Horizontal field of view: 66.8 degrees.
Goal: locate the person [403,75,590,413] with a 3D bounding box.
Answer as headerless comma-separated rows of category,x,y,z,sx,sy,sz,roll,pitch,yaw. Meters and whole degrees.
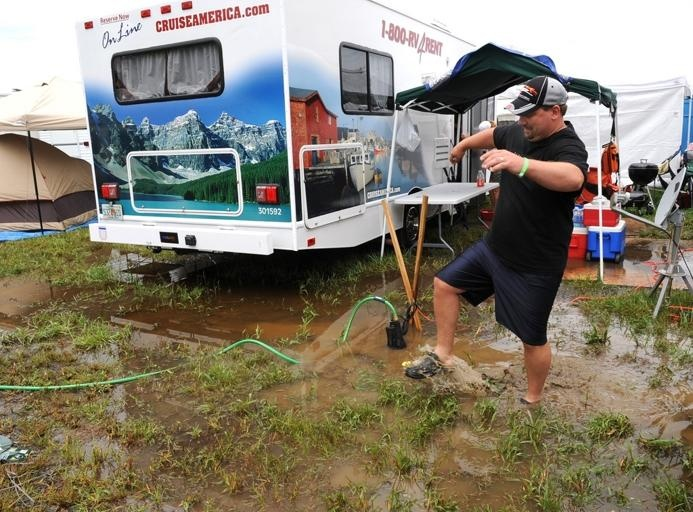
person,1.130,-0.047,3.710,1.010,2.360,0.918,4,9,36

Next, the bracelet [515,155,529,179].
bracelet,1.091,-0.555,3.292,0.071,0.107,0.112,9,-8,0

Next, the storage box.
storage box,3.224,-0.272,6.731,0.564,0.917,0.934,5,16,26

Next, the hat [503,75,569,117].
hat,1.233,-1.104,3.487,0.443,0.211,0.270,-13,39,-18

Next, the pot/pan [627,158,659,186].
pot/pan,5.356,-1.500,9.517,0.444,0.399,0.487,-2,6,-1

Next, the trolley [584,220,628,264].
trolley,3.592,-0.198,7.256,0.405,0.490,0.666,6,19,32
